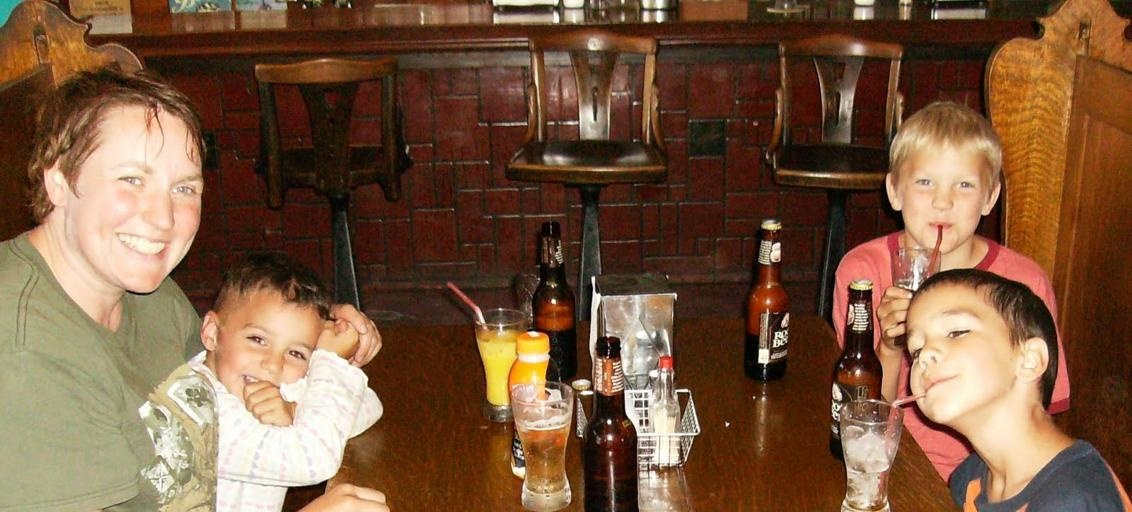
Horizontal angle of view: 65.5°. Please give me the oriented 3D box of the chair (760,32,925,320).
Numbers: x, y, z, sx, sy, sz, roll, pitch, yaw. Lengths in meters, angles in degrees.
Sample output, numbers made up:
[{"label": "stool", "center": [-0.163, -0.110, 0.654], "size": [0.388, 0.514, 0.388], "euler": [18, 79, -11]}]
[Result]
[{"label": "chair", "center": [1.453, -0.360, 4.760], "size": [0.961, 1.426, 0.717], "euler": [-2, -12, -14]}]

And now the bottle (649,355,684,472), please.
[{"label": "bottle", "center": [0.357, 0.554, 3.150], "size": [0.108, 0.395, 0.183], "euler": [0, -2, 1]}]
